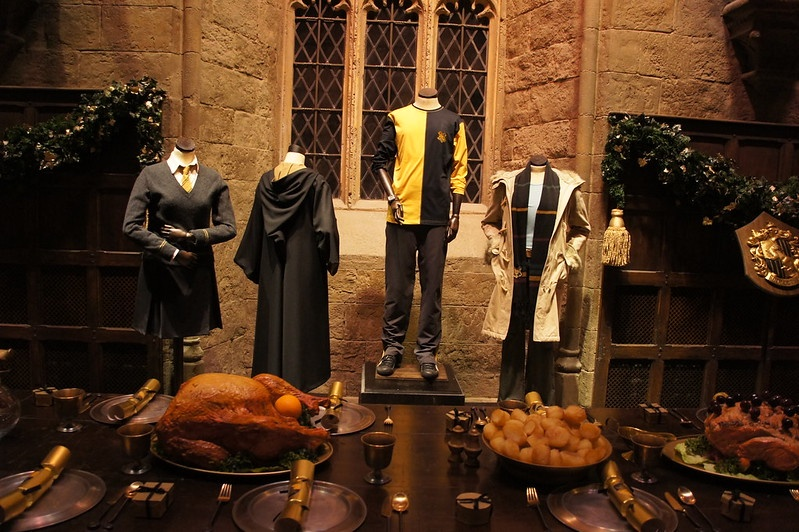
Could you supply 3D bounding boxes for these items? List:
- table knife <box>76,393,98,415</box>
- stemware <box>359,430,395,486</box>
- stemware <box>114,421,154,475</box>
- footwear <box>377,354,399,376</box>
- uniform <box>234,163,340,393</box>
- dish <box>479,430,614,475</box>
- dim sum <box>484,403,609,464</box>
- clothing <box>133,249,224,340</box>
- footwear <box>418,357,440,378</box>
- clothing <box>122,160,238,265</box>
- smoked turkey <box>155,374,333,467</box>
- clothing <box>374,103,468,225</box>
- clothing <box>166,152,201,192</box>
[{"bbox_3d":[-1.548,0.680,3.392,0.040,0.008,0.152,7,16,-7],"label":"table knife"},{"bbox_3d":[-0.093,0.846,3.010,0.144,0.186,0.147,-1,7,-23],"label":"stemware"},{"bbox_3d":[-1.150,0.801,3.001,0.145,0.176,0.144,-6,9,-41],"label":"stemware"},{"bbox_3d":[-0.084,0.707,4.996,0.158,0.130,0.257,2,5,6],"label":"footwear"},{"bbox_3d":[-0.789,0.073,4.827,0.679,1.583,0.356,0,5,-12],"label":"uniform"},{"bbox_3d":[0.748,0.843,3.210,0.420,0.085,0.441,-8,-9,9],"label":"dish"},{"bbox_3d":[0.640,0.754,3.031,0.321,0.131,0.331,1,3,21],"label":"dim sum"},{"bbox_3d":[-1.480,0.129,4.651,0.505,0.636,0.339,0,6,-35],"label":"clothing"},{"bbox_3d":[0.214,0.727,4.934,0.142,0.135,0.199,1,5,0],"label":"footwear"},{"bbox_3d":[-1.437,-0.387,4.548,0.738,0.642,0.382,-1,6,-31],"label":"clothing"},{"bbox_3d":[-0.709,0.682,3.000,0.578,0.253,0.434,-1,18,-7],"label":"smoked turkey"},{"bbox_3d":[0.149,-0.743,5.038,0.687,0.884,0.217,1,4,-3],"label":"clothing"},{"bbox_3d":[-1.438,-0.646,4.571,0.199,0.312,0.139,-4,26,-33],"label":"clothing"}]
